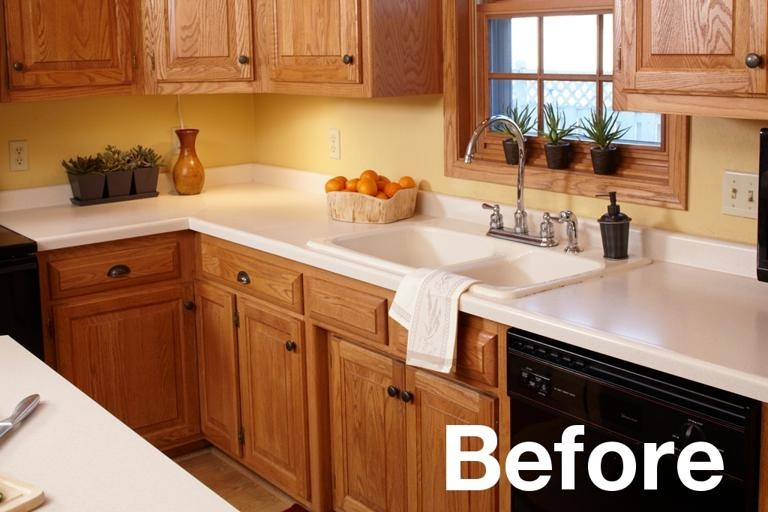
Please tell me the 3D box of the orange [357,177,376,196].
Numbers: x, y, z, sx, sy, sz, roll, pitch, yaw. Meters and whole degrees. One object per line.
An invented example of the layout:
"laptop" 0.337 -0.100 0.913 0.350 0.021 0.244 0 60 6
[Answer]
"orange" -0.070 -0.313 2.678 0.082 0.073 0.092 -1 18 -2

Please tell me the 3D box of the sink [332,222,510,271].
"sink" 0.104 -0.030 2.506 0.363 0.138 0.282 17 25 41

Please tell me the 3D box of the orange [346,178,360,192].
"orange" -0.145 -0.327 2.758 0.057 0.060 0.061 -6 -5 24

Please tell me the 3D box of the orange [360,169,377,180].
"orange" -0.071 -0.378 2.744 0.059 0.057 0.056 1 11 11

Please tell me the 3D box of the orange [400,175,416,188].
"orange" 0.110 -0.352 2.771 0.059 0.060 0.061 -11 13 -22

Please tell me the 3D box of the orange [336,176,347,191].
"orange" -0.197 -0.343 2.778 0.060 0.070 0.058 -1 3 -15

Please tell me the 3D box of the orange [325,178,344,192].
"orange" -0.221 -0.325 2.741 0.085 0.064 0.093 -2 18 -5

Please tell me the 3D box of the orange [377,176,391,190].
"orange" 0.000 -0.348 2.760 0.060 0.032 0.061 -19 45 -21

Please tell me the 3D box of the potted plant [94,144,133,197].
"potted plant" -1.413 -0.474 3.185 0.227 0.294 0.248 -8 19 -28

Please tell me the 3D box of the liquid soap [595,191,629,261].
"liquid soap" 0.837 -0.123 2.144 0.112 0.244 0.161 8 19 23

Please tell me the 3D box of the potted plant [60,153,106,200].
"potted plant" -1.536 -0.421 3.129 0.235 0.227 0.232 -8 11 -40

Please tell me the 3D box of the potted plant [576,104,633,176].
"potted plant" 0.790 -0.448 2.277 0.241 0.259 0.231 -7 11 -9

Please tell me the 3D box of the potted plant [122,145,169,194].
"potted plant" -1.301 -0.508 3.303 0.245 0.304 0.251 -8 20 -26

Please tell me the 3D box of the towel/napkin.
"towel/napkin" 0.157 0.189 1.910 0.264 0.324 0.094 14 3 32

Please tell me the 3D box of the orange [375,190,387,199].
"orange" -0.009 -0.280 2.693 0.041 0.031 0.030 31 33 28

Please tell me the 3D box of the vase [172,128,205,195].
"vase" -1.107 -0.533 3.351 0.163 0.349 0.175 -7 19 -20

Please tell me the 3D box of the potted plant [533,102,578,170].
"potted plant" 0.743 -0.490 2.395 0.241 0.254 0.230 2 10 21

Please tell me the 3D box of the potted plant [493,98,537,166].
"potted plant" 0.580 -0.539 2.537 0.236 0.266 0.238 -8 13 -30
